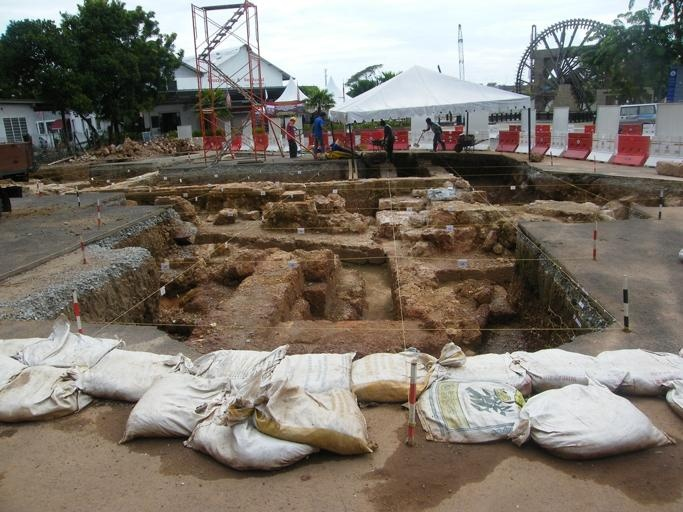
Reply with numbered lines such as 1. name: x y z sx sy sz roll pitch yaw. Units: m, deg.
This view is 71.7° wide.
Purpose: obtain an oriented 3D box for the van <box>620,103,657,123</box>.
1. van: 12.759 -6.137 20.418 1.173 0.956 3.927 5 14 28
